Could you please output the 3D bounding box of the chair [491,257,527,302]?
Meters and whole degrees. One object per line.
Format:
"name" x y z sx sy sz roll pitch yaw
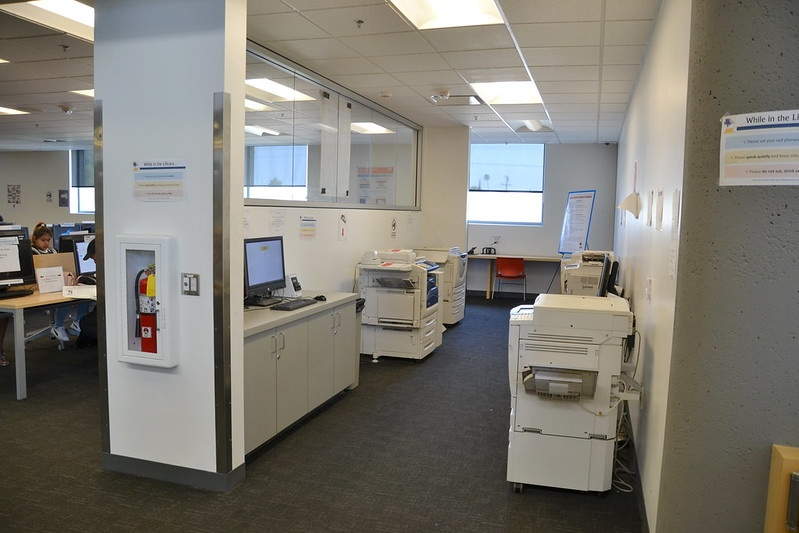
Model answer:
"chair" 1.994 0.214 10.507 0.608 0.839 0.559 4 15 12

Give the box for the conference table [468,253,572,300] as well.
"conference table" 2.093 0.181 10.678 0.879 1.259 0.741 2 2 22

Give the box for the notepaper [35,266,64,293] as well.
"notepaper" -3.414 0.134 5.720 0.063 0.249 0.267 0 5 26

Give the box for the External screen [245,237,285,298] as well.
"External screen" -1.214 -0.007 5.073 0.212 0.485 0.502 2 8 28

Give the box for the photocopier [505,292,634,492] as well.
"photocopier" 1.110 0.831 4.260 0.737 1.277 0.933 3 4 13

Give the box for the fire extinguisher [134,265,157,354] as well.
"fire extinguisher" -1.746 0.294 4.027 0.164 0.584 0.275 -6 16 -24

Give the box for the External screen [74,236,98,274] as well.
"External screen" -3.199 -0.105 5.960 0.152 0.385 0.393 -2 2 8

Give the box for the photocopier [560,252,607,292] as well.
"photocopier" 2.053 0.067 6.485 0.396 0.493 0.533 0 1 -44

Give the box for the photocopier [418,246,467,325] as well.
"photocopier" 0.512 0.313 8.343 0.948 1.332 1.153 0 5 14

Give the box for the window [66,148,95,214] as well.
"window" -6.997 -1.858 12.901 0.581 1.404 0.578 -2 15 -12
